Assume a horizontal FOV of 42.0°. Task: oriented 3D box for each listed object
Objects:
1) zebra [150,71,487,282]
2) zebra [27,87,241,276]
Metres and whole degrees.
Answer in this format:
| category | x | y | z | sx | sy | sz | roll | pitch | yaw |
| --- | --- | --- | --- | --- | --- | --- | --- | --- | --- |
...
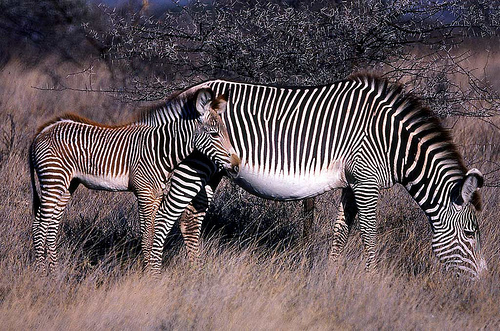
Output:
| category | x | y | z | sx | sy | sz | roll | pitch | yaw |
| --- | --- | --- | --- | --- | --- | --- | --- | --- | --- |
| zebra | 0.997 | 0.298 | 9.373 | 4.708 | 3.144 | 1.300 | 3 | 6 | 8 |
| zebra | -1.599 | 0.341 | 9.312 | 2.364 | 2.343 | 0.709 | 1 | -8 | 1 |
